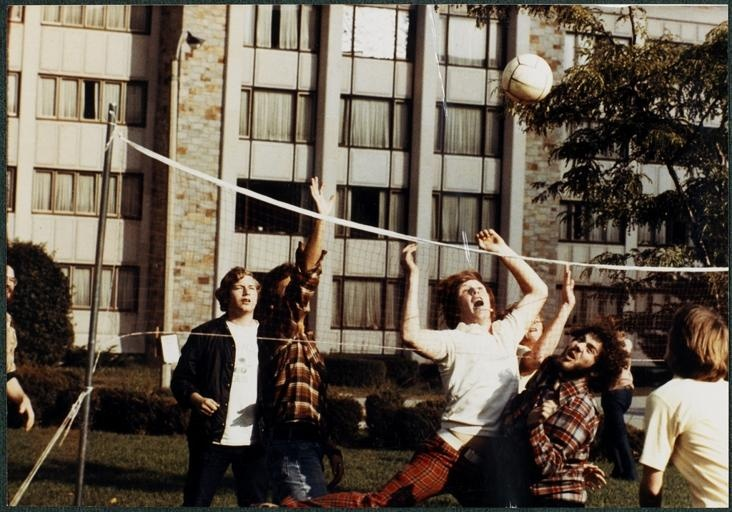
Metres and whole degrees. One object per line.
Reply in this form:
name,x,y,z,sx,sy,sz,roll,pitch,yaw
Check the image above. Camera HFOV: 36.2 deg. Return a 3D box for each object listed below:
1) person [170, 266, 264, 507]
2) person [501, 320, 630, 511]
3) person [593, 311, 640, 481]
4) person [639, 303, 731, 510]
person,-1.733,1.647,13.676,1.064,2.692,0.719,3,0,-11
person,2.486,1.955,14.004,1.077,2.725,1.131,6,-2,19
person,3.343,1.872,14.551,0.602,2.093,0.566,7,1,7
person,3.722,1.747,12.762,1.322,2.377,0.742,3,0,-30
